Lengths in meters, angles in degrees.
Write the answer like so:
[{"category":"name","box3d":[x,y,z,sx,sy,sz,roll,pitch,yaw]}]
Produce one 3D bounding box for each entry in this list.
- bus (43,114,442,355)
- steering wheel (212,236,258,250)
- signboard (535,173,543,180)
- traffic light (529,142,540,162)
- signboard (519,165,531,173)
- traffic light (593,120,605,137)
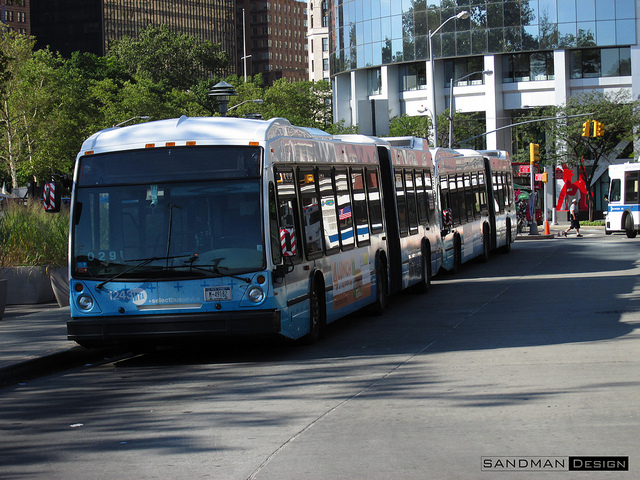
[{"category":"bus","box3d":[-0.168,-0.342,18.005,3.473,4.370,13.062,-1,2,18]},{"category":"steering wheel","box3d":[-1.252,0.046,12.010,0.661,0.221,0.030,-5,3,-3]},{"category":"signboard","box3d":[18.028,-5.249,66.012,0.451,0.542,3.282,-3,4,18]},{"category":"traffic light","box3d":[12.294,-5.019,46.157,0.226,1.053,1.652,-2,4,28]},{"category":"signboard","box3d":[14.887,-5.156,57.995,0.537,0.593,1.116,-5,3,-13]},{"category":"traffic light","box3d":[16.640,-6.560,47.960,0.736,1.143,1.065,-2,1,24]}]
